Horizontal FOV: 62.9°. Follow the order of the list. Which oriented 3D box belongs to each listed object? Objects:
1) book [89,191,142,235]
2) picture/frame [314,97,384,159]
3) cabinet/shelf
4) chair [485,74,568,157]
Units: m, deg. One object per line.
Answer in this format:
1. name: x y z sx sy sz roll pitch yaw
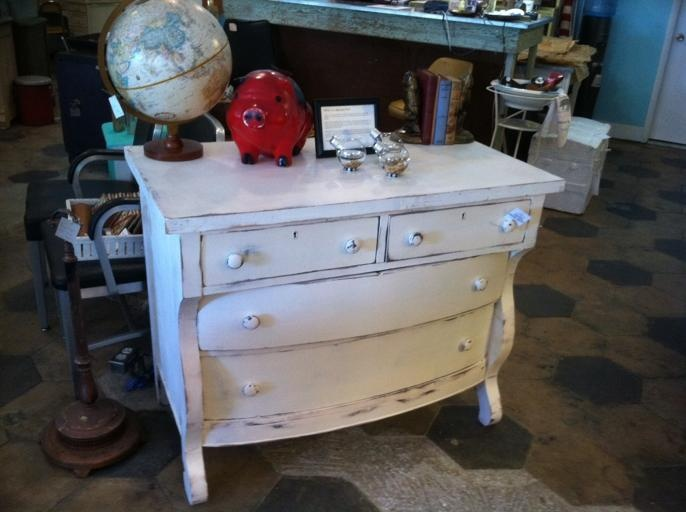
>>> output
1. book: -0.925 -0.151 2.378 0.236 0.085 0.235 -3 43 -12
2. picture/frame: 0.017 -0.465 2.052 0.243 0.202 0.017 -7 12 -15
3. cabinet/shelf: -0.002 0.219 2.196 1.412 1.174 0.553 -11 31 -19
4. chair: 1.248 -0.917 4.039 0.561 0.608 0.529 4 9 -30
